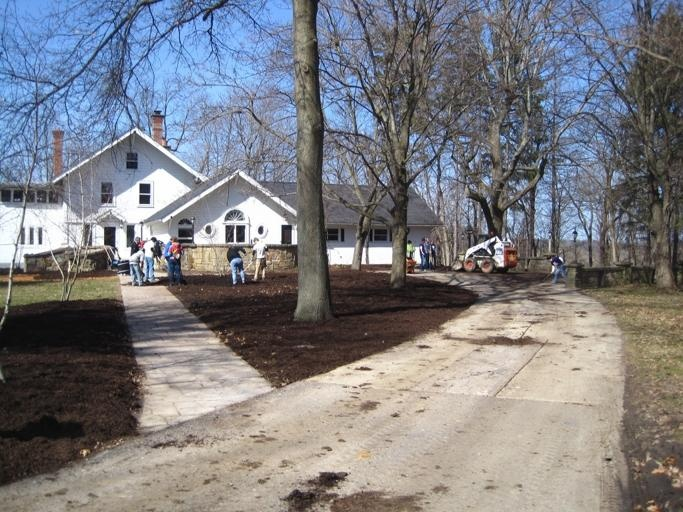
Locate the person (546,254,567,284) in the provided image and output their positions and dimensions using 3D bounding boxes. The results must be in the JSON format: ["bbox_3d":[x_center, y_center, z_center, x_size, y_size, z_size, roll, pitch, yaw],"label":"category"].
[{"bbox_3d":[10.782,0.659,28.974,0.666,0.600,1.172,-17,13,12],"label":"person"}]
